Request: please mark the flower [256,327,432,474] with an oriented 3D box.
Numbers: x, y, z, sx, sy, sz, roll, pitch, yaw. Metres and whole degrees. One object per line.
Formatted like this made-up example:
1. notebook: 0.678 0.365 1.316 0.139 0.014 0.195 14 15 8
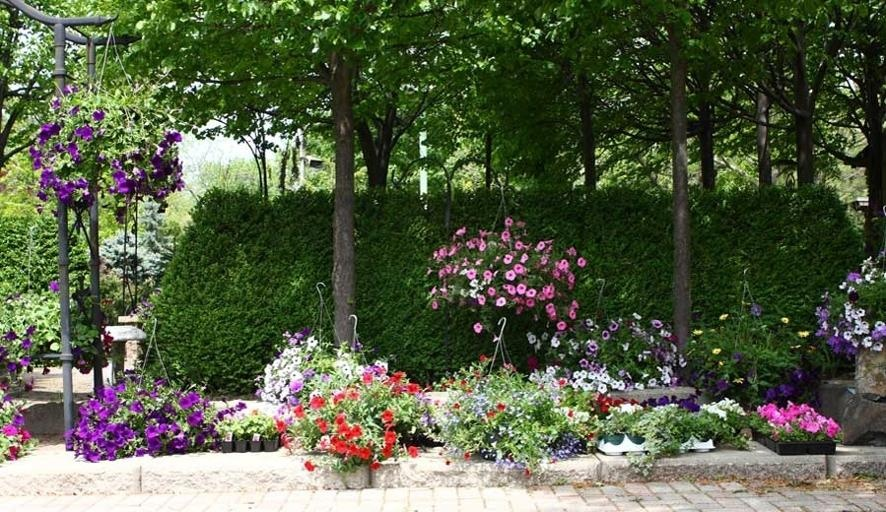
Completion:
1. flower: -1.394 2.016 15.136 2.419 1.730 1.107 0 -2 21
